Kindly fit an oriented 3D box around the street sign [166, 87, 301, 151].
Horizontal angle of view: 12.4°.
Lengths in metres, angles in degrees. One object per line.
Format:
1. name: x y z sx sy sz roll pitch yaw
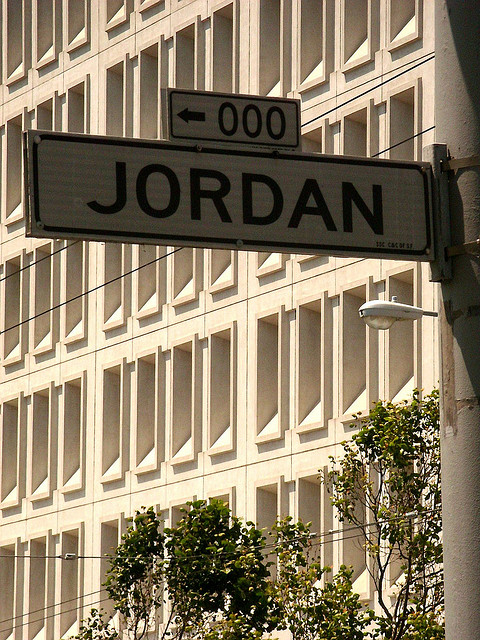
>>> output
1. street sign: -0.023 -1.641 18.185 1.140 0.657 0.034 4 -44 -6
